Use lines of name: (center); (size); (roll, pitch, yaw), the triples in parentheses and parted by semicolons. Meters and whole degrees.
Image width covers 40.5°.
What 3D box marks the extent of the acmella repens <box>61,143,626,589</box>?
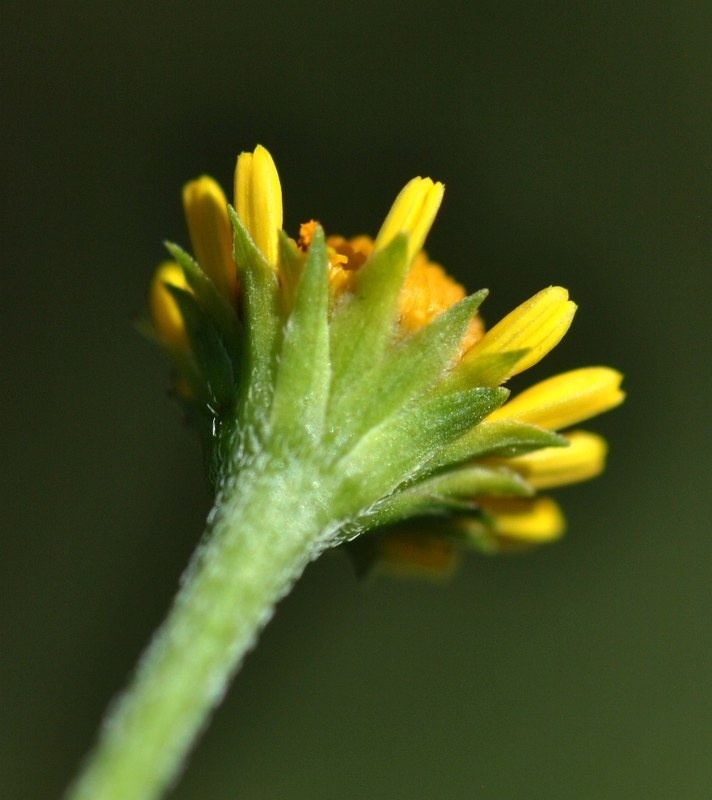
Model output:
acmella repens: (-0.031, 0.014, 1.101); (0.510, 0.439, 0.448); (22, -27, 10)
